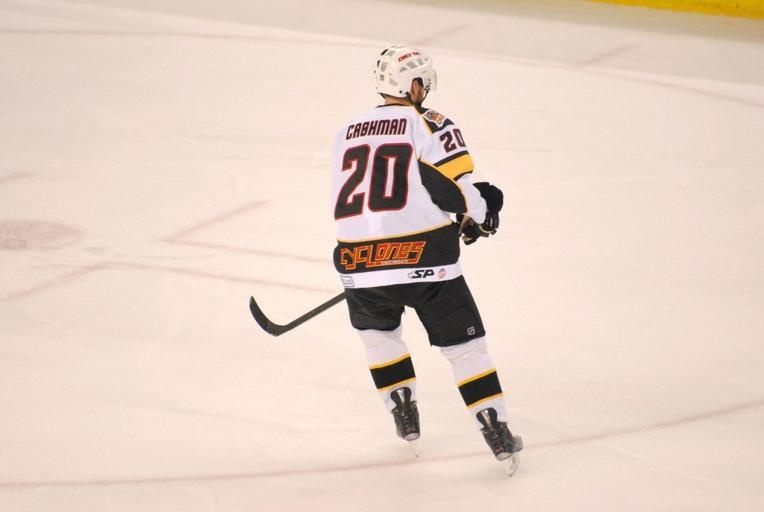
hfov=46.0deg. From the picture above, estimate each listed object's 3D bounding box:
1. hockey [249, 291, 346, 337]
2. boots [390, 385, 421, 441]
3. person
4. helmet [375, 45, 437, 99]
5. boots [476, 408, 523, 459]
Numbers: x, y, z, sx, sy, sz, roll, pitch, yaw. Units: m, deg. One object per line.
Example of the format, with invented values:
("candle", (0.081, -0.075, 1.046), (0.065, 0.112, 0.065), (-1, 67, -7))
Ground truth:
("hockey", (-0.536, 0.391, 5.631), (0.414, 0.103, 0.404), (-27, 11, -21))
("boots", (0.132, 0.861, 4.925), (0.132, 0.320, 0.153), (-9, 11, -3))
("person", (0.199, 0.102, 4.892), (1.227, 1.714, 0.619), (12, 24, 15))
("helmet", (0.135, -1.018, 5.041), (0.297, 0.287, 0.340), (17, 26, 37))
("boots", (0.639, 0.950, 4.832), (0.137, 0.365, 0.160), (-32, 9, 16))
